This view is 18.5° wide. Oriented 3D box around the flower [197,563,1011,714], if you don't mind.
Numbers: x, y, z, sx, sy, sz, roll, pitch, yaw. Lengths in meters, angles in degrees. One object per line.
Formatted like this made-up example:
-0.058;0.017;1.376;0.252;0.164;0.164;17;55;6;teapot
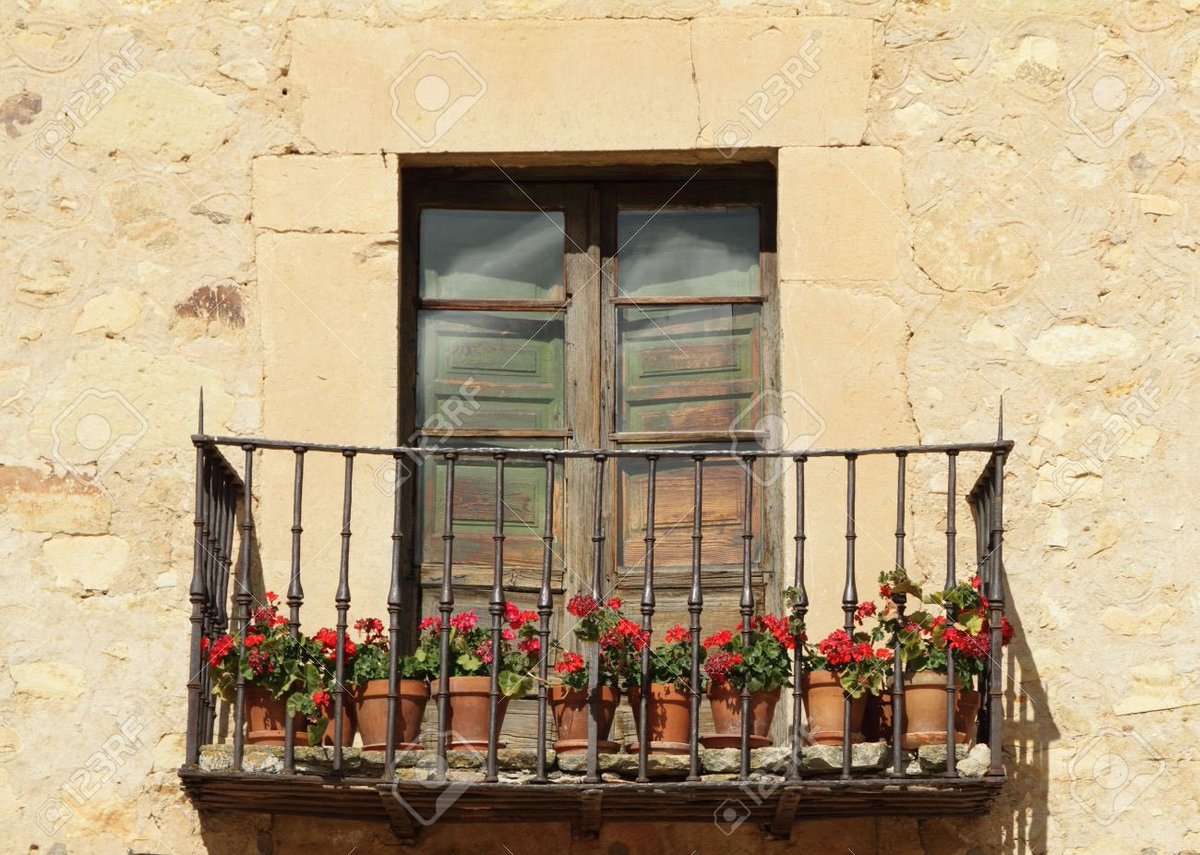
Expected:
0.038;0.890;15.140;3.249;0.614;0.628;0;-3;0;flower
